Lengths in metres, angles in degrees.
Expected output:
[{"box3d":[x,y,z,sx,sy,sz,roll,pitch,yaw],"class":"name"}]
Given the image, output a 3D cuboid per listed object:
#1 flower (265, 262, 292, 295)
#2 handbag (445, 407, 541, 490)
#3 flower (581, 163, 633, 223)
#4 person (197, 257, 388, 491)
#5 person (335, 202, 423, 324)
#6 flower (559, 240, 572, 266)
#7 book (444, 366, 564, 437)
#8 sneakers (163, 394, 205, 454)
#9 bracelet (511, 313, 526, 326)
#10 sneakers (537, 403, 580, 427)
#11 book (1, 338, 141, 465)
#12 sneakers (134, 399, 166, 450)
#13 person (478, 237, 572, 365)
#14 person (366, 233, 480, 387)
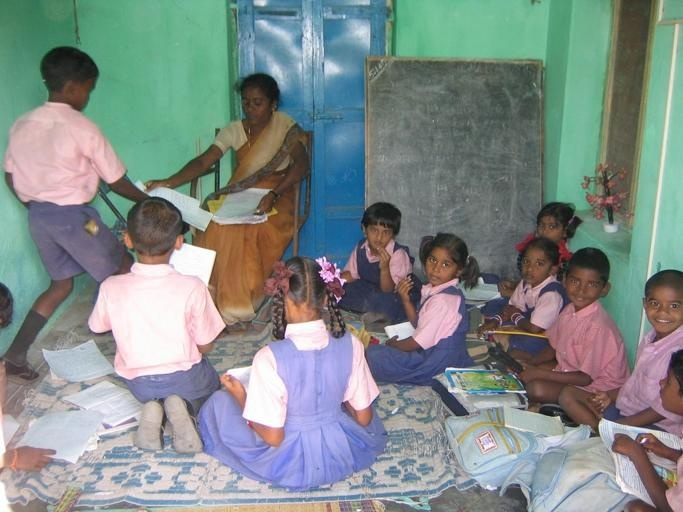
[{"box3d":[-0.272,0.094,2.444,0.110,0.161,0.084,-4,17,-9],"class":"flower"},{"box3d":[0.693,0.870,2.603,0.316,0.118,0.312,-19,42,8],"class":"handbag"},{"box3d":[1.886,-0.480,4.046,0.130,0.348,0.344,-10,-1,-13],"class":"flower"},{"box3d":[-0.172,0.493,2.696,0.952,0.951,0.690,-6,13,-20],"class":"person"},{"box3d":[0.244,0.047,4.081,0.644,0.801,0.636,16,21,35],"class":"person"},{"box3d":[1.451,-0.022,3.696,0.044,0.161,0.122,15,-12,-16],"class":"flower"},{"box3d":[0.763,0.739,2.933,0.363,0.112,0.264,2,28,-38],"class":"book"},{"box3d":[-0.744,0.802,2.679,0.128,0.336,0.132,-5,5,4],"class":"sneakers"},{"box3d":[1.125,0.395,3.629,0.033,0.053,0.080,33,-7,-10],"class":"bracelet"},{"box3d":[1.115,0.814,2.946,0.086,0.068,0.198,36,-16,-24],"class":"sneakers"},{"box3d":[-1.330,0.774,2.958,0.465,0.090,0.536,13,21,-17],"class":"book"},{"box3d":[-0.909,0.807,2.716,0.141,0.234,0.081,4,13,9],"class":"sneakers"},{"box3d":[1.161,0.255,3.609,0.566,0.758,0.661,1,9,1],"class":"person"},{"box3d":[0.556,0.263,3.623,0.804,1.036,0.748,2,10,1],"class":"person"}]
